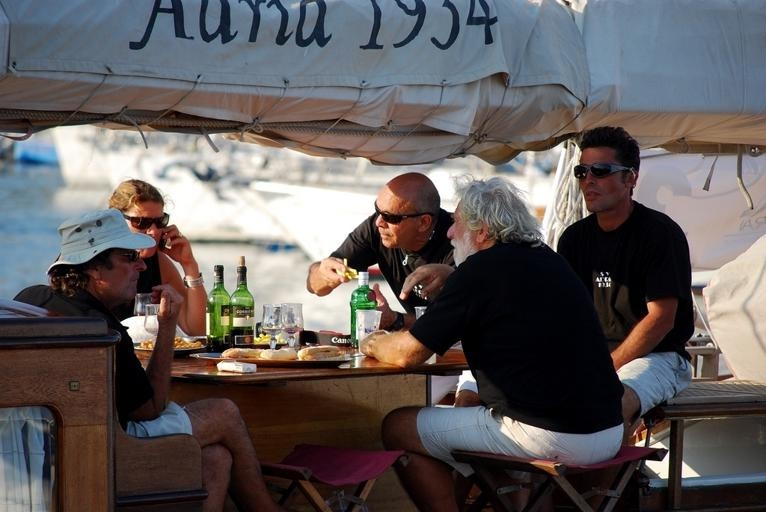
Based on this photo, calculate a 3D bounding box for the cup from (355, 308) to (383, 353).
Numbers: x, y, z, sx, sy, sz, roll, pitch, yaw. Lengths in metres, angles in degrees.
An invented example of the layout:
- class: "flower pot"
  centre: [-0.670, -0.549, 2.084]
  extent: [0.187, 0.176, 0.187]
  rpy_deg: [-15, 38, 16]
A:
- class: "cup"
  centre: [-0.099, 0.411, 5.439]
  extent: [0.187, 0.235, 0.216]
  rpy_deg: [2, -4, -6]

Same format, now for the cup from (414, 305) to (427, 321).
- class: "cup"
  centre: [0.217, 0.323, 5.513]
  extent: [0.081, 0.056, 0.078]
  rpy_deg: [3, -5, 0]

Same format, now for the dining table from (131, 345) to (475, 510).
- class: "dining table"
  centre: [-0.435, 0.875, 5.002]
  extent: [1.106, 0.508, 0.651]
  rpy_deg: [2, 0, -36]

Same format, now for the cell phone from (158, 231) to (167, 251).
- class: "cell phone"
  centre: [-1.354, -0.076, 6.043]
  extent: [0.029, 0.090, 0.068]
  rpy_deg: [3, 9, -26]

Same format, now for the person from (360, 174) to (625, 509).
- class: "person"
  centre: [0.588, 0.450, 5.002]
  extent: [1.199, 1.723, 0.336]
  rpy_deg: [-2, -3, 12]

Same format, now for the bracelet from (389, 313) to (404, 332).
- class: "bracelet"
  centre: [0.095, 0.396, 5.721]
  extent: [0.039, 0.097, 0.085]
  rpy_deg: [25, -8, 2]

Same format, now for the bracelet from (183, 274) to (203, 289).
- class: "bracelet"
  centre: [-1.180, 0.166, 6.187]
  extent: [0.105, 0.066, 0.091]
  rpy_deg: [2, -4, -31]
